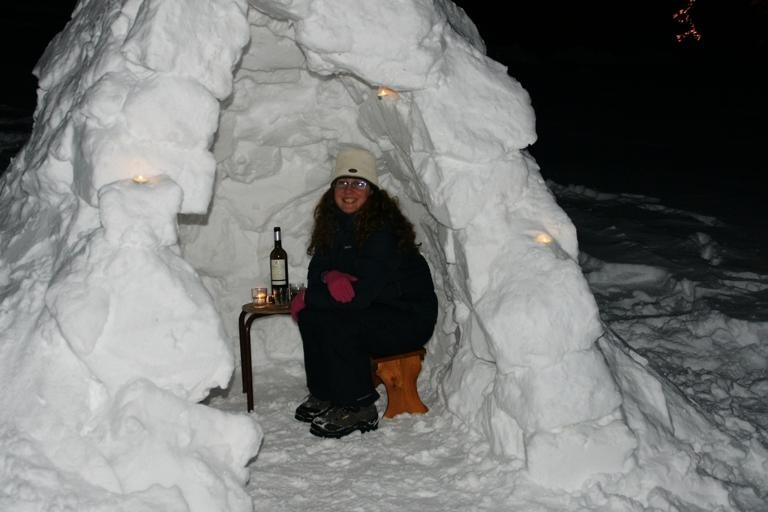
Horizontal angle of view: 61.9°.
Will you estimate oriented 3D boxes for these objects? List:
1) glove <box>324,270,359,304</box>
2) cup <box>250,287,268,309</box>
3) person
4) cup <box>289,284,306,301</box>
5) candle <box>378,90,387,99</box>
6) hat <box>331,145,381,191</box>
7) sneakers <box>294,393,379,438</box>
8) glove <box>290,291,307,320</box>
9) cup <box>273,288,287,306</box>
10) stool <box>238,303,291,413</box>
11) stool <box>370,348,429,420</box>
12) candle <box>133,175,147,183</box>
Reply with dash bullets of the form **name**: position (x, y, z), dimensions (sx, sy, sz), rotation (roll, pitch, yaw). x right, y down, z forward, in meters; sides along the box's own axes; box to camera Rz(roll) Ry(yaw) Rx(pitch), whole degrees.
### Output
- **glove**: position (-0.313, 0.217, 4.507), dimensions (0.230, 0.197, 0.164), rotation (3, 9, -5)
- **cup**: position (-0.963, 0.320, 4.976), dimensions (0.160, 0.158, 0.151), rotation (0, -3, 0)
- **person**: position (-0.111, 0.227, 4.586), dimensions (0.935, 1.925, 0.745), rotation (5, 10, 1)
- **cup**: position (-0.659, 0.278, 4.913), dimensions (0.137, 0.135, 0.134), rotation (0, -3, 0)
- **candle**: position (-0.013, -1.077, 4.271), dimensions (0.032, 0.041, 0.042), rotation (3, -5, -20)
- **hat**: position (-0.198, -0.667, 4.842), dimensions (0.379, 0.248, 0.254), rotation (19, -20, -34)
- **sneakers**: position (-0.275, 1.077, 4.419), dimensions (0.395, 0.150, 0.293), rotation (0, 14, -29)
- **glove**: position (-0.614, 0.345, 4.568), dimensions (0.099, 0.230, 0.308), rotation (3, 9, -8)
- **cup**: position (-0.790, 0.314, 4.900), dimensions (0.126, 0.133, 0.122), rotation (1, 4, 0)
- **stool**: position (-0.899, 0.730, 4.777), dimensions (0.340, 0.748, 0.412), rotation (1, 10, -20)
- **stool**: position (0.118, 0.882, 4.732), dimensions (0.449, 0.502, 0.543), rotation (-3, -4, -12)
- **candle**: position (-1.356, -0.426, 3.572), dimensions (0.053, 0.034, 0.051), rotation (4, 34, -2)
